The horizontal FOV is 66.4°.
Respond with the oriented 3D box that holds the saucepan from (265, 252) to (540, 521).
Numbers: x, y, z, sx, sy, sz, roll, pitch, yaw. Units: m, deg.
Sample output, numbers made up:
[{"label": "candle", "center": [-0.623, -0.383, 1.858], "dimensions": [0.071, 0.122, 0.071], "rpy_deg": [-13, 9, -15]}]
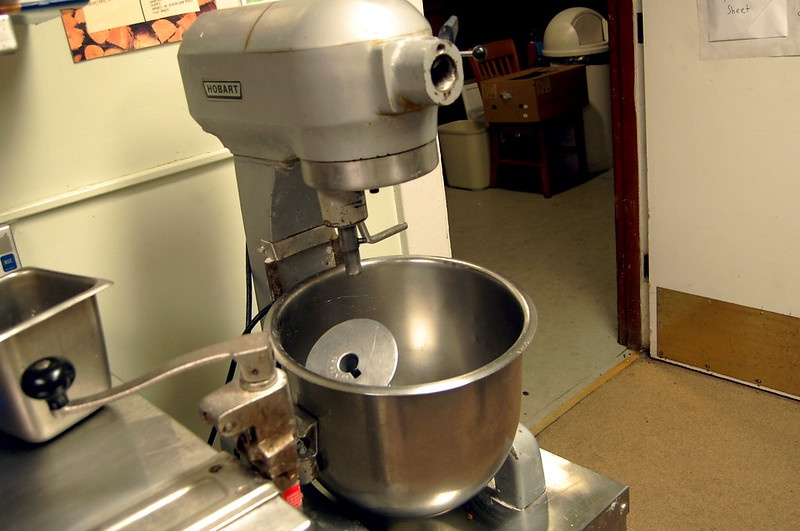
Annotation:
[{"label": "saucepan", "center": [0.071, 0.238, 1.313], "dimensions": [0.542, 0.391, 0.535], "rpy_deg": [-28, 32, -28]}]
